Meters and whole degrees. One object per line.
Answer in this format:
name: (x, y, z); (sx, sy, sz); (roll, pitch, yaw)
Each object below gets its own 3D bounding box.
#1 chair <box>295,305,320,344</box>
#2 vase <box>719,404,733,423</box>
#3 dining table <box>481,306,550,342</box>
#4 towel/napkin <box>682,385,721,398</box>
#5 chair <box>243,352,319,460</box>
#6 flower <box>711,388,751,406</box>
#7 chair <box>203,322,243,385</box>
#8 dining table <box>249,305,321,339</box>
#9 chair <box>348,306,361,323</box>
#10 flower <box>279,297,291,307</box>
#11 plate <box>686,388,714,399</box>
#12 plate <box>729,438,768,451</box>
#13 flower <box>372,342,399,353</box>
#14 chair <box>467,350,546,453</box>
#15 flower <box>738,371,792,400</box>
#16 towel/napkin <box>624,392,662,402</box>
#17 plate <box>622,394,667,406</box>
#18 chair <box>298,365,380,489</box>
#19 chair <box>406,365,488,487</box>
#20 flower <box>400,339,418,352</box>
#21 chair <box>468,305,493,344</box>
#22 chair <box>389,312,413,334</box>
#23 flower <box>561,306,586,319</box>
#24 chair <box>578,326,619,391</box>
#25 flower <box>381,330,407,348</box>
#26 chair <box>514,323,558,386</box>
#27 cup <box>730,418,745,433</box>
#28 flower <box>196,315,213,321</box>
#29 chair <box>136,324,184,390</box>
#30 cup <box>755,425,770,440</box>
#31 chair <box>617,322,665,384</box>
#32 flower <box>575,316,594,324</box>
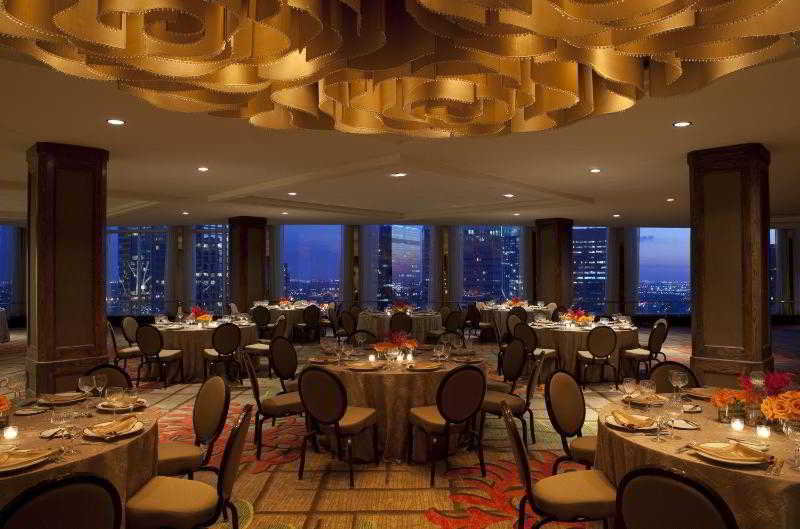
chair: (-2.120, 1.300, 13.311); (0.559, 0.853, 0.625); (4, 4, 4)
vase: (2.509, 1.128, 4.492); (0.120, 0.145, 0.124); (1, -4, 8)
dining table: (2.327, 1.161, 12.999); (1.034, 0.646, 1.072); (0, -6, 0)
towel/napkin: (2.664, 1.105, 5.093); (0.219, 0.056, 0.216); (-3, 2, -11)
chair: (-1.298, 1.385, 6.250); (0.648, 1.078, 0.601); (-7, 8, -19)
flower: (2.502, 0.986, 4.390); (0.166, 0.103, 0.164); (9, -11, -39)
chair: (-2.770, 1.322, 8.984); (0.551, 0.953, 0.582); (-4, 8, -21)
dining table: (-2.600, 1.247, 13.049); (1.055, 0.524, 1.103); (0, -5, -1)
chair: (-1.022, 1.094, 13.196); (0.278, 0.537, 0.313); (0, -6, -9)
flower: (-2.782, 0.893, 14.103); (0.291, 0.172, 0.302); (1, -3, 0)
plate: (2.622, 1.108, 5.083); (0.125, 0.041, 0.126); (1, -6, -43)
plate: (2.398, 1.196, 4.003); (0.066, 0.028, 0.194); (-9, 7, -30)
flower: (-0.166, 0.888, 6.349); (0.156, 0.082, 0.160); (1, -3, -10)
chair: (1.103, 1.396, 6.334); (0.608, 1.181, 0.723); (2, 3, 24)
flower: (2.720, 0.888, 4.412); (0.343, 0.236, 0.334); (0, -7, -24)
towel/napkin: (1.992, 1.089, 4.838); (0.169, 0.025, 0.171); (0, 2, -18)
plate: (1.994, 1.104, 4.805); (0.189, 0.034, 0.196); (-1, -1, -2)
chair: (-0.627, 1.425, 5.622); (0.768, 1.100, 0.735); (0, 7, 8)
chair: (0.500, 1.431, 5.674); (0.844, 1.086, 0.684); (-3, 8, -15)
flower: (0.089, 0.886, 6.516); (0.151, 0.095, 0.150); (3, -6, -38)
chair: (1.812, 1.312, 13.560); (0.473, 0.788, 0.500); (1, 5, 24)
chair: (0.000, 1.094, 11.148); (0.378, 0.682, 0.414); (2, 8, 2)
flower: (3.431, 0.934, 11.592); (0.315, 0.194, 0.323); (0, -7, -4)
chair: (3.013, 1.356, 8.925); (0.509, 0.946, 0.595); (1, 2, 10)
flower: (-0.088, 0.806, 6.500); (0.187, 0.122, 0.204); (7, 1, -20)
chair: (2.074, 1.324, 8.929); (0.570, 0.949, 0.514); (-5, 2, -43)
cup: (2.512, 1.176, 4.320); (0.086, 0.066, 0.085); (-2, -6, 0)
flower: (-3.331, 0.891, 9.871); (0.131, 0.090, 0.136); (1, -2, 15)
chair: (-3.712, 1.332, 8.866); (0.516, 0.937, 0.567); (0, 3, 13)
cup: (2.581, 1.171, 4.155); (0.085, 0.092, 0.088); (-3, 5, 0)
chair: (3.874, 1.365, 9.265); (0.525, 0.950, 0.549); (-4, 7, -38)
flower: (3.120, 0.919, 9.814); (0.193, 0.139, 0.198); (-7, -8, 42)
